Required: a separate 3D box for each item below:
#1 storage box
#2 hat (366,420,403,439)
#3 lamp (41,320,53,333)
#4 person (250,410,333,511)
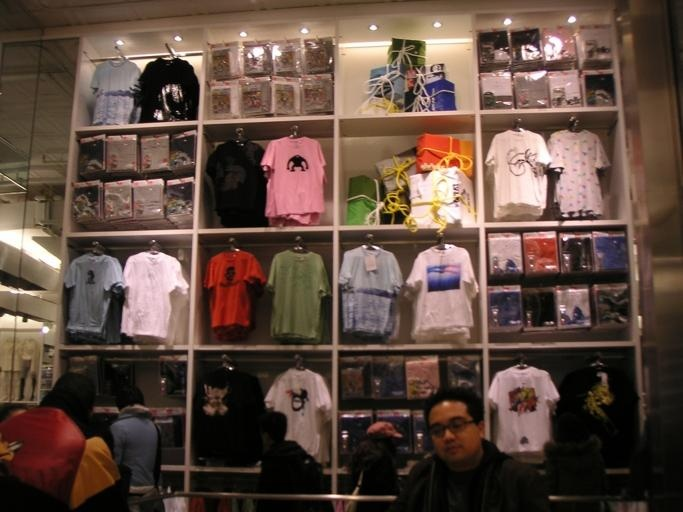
[{"bbox_3d":[0.611,-1.565,5.356,0.820,0.639,0.278,0,-6,12],"label":"storage box"},{"bbox_3d":[0.316,1.269,4.501,0.226,0.080,0.215,6,-6,12],"label":"hat"},{"bbox_3d":[-2.334,0.562,4.910,0.078,0.090,0.072,4,-53,2],"label":"lamp"},{"bbox_3d":[-0.355,1.355,4.228,0.440,0.531,1.321,-1,-11,-7],"label":"person"}]
